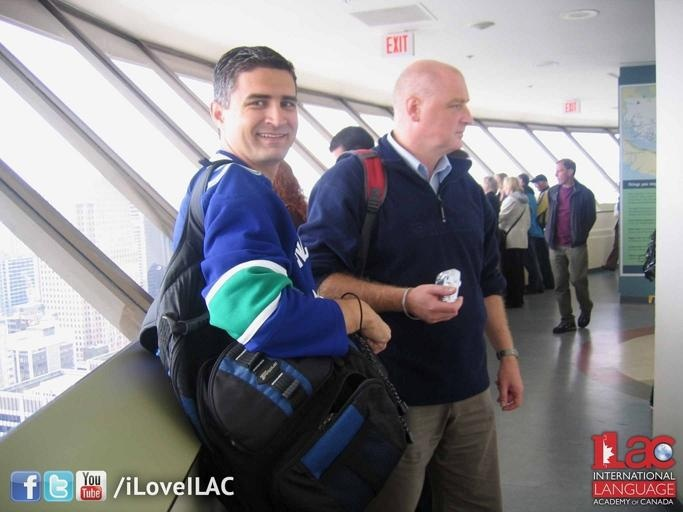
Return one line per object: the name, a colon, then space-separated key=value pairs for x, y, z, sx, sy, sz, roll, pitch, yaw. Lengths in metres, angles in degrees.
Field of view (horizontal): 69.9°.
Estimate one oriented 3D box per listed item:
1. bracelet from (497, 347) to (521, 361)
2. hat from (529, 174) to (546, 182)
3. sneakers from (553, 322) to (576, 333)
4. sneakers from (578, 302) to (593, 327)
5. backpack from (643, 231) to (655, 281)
bracelet: x=0.714 y=0.428 z=2.104 sx=0.084 sy=0.052 sz=0.087 roll=0 pitch=-19 yaw=-14
hat: x=3.140 y=-1.236 z=7.781 sx=0.181 sy=0.075 sz=0.120 roll=-1 pitch=12 yaw=8
sneakers: x=2.665 y=0.862 z=5.902 sx=0.312 sy=0.142 sz=0.120 roll=-2 pitch=-2 yaw=-1
sneakers: x=2.932 y=0.753 z=5.902 sx=0.111 sy=0.356 sz=0.145 roll=17 pitch=-7 yaw=39
backpack: x=2.285 y=0.013 z=3.627 sx=0.066 sy=0.421 sz=0.546 roll=3 pitch=10 yaw=32
